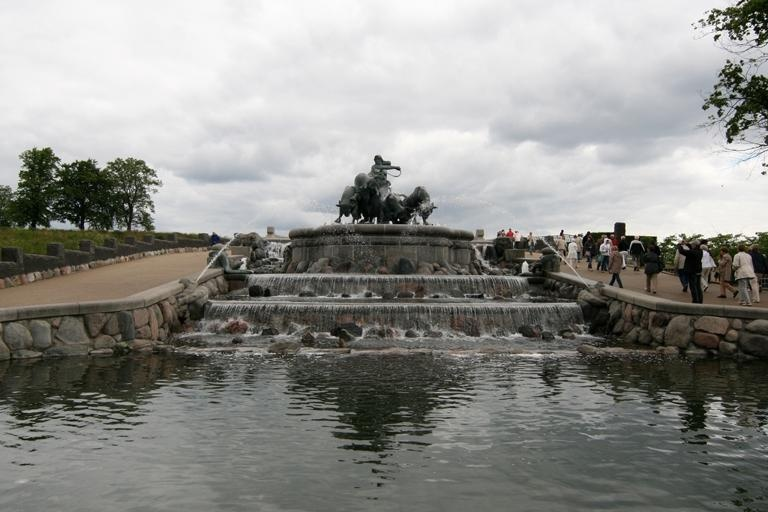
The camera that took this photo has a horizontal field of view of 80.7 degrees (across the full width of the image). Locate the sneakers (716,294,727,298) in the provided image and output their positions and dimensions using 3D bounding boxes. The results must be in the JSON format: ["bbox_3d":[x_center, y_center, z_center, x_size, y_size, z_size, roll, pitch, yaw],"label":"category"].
[{"bbox_3d":[12.849,1.516,17.072,0.162,0.152,0.417,1,2,-12],"label":"sneakers"}]

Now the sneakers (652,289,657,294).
[{"bbox_3d":[10.482,1.388,17.350,0.121,0.146,0.175,-12,-14,15],"label":"sneakers"}]

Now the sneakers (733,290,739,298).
[{"bbox_3d":[13.404,1.455,17.128,0.105,0.260,0.130,-25,28,-36],"label":"sneakers"}]

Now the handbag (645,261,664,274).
[{"bbox_3d":[10.459,0.450,17.307,0.740,0.448,0.343,-2,5,-29],"label":"handbag"}]
